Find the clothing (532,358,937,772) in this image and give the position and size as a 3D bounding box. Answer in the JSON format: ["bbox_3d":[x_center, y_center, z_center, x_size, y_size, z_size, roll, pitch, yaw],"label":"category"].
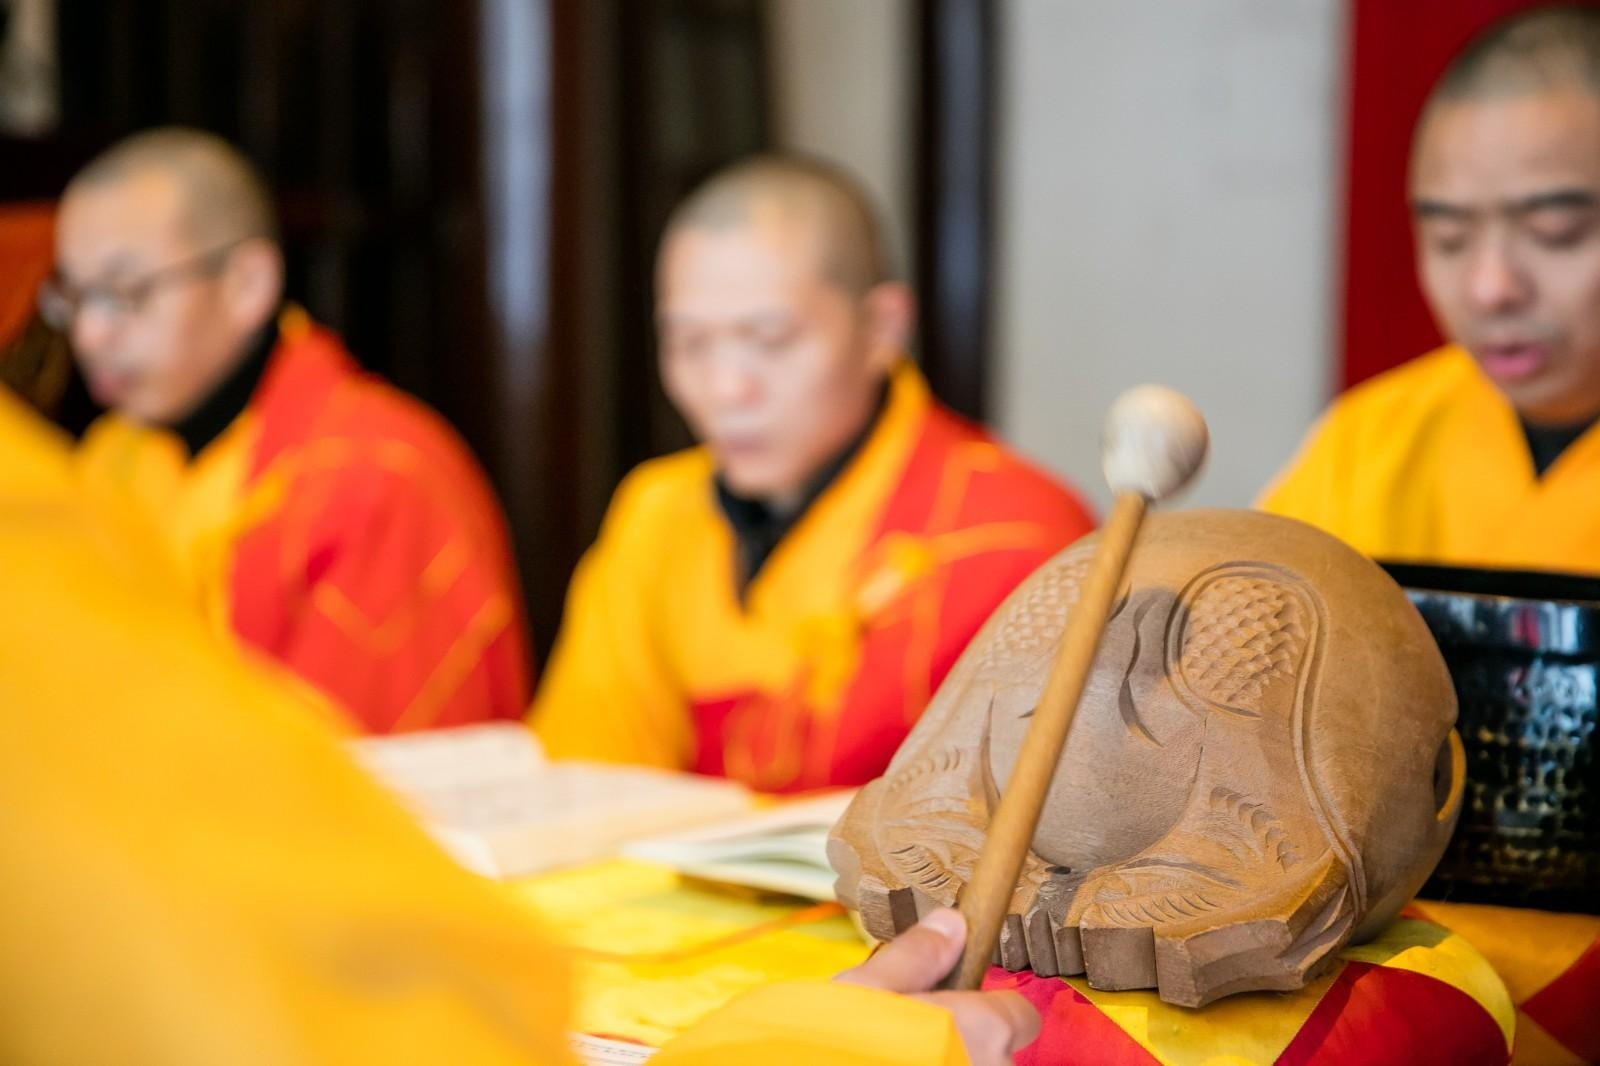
[{"bbox_3d":[-0.089,0.151,2.018,0.348,0.175,0.430,29,8,-17],"label":"clothing"}]

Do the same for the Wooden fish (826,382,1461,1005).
[{"bbox_3d":[0.227,0.147,1.295,0.330,0.185,0.440,10,34,38],"label":"Wooden fish"}]

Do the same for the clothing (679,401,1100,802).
[{"bbox_3d":[0.116,0.113,1.884,0.107,0.352,0.332,26,6,-43],"label":"clothing"}]
